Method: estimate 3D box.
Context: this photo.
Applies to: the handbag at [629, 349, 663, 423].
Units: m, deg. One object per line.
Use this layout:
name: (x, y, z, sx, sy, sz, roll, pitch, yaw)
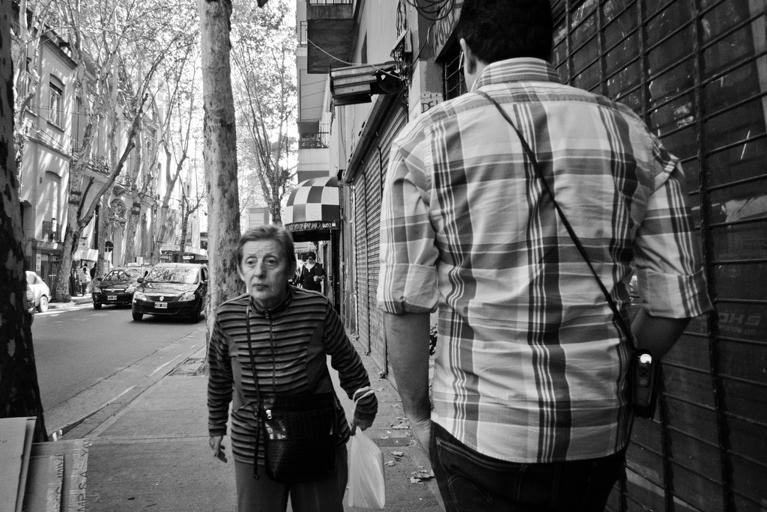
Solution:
handbag: (1.072, 0.522, 2.455, 0.140, 0.282, 0.077, 0, -2, -22)
